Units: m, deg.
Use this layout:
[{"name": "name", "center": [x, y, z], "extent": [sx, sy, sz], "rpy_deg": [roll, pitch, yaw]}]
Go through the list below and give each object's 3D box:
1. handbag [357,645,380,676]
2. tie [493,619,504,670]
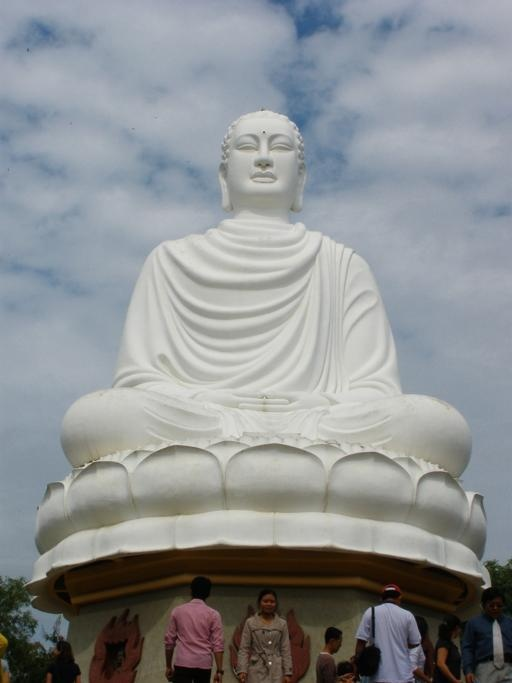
[{"name": "handbag", "center": [0.602, 1.689, 5.753], "extent": [0.166, 0.163, 0.096], "rpy_deg": [9, -17, -9]}, {"name": "tie", "center": [1.373, 1.709, 6.127], "extent": [0.063, 0.249, 0.130], "rpy_deg": [-2, -3, 11]}]
